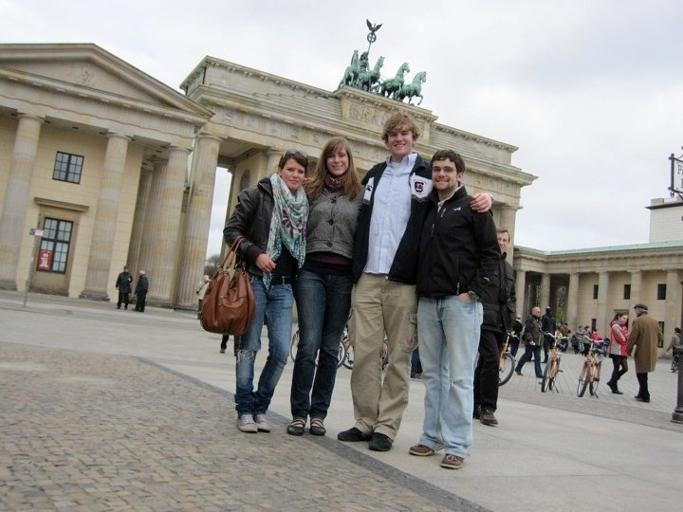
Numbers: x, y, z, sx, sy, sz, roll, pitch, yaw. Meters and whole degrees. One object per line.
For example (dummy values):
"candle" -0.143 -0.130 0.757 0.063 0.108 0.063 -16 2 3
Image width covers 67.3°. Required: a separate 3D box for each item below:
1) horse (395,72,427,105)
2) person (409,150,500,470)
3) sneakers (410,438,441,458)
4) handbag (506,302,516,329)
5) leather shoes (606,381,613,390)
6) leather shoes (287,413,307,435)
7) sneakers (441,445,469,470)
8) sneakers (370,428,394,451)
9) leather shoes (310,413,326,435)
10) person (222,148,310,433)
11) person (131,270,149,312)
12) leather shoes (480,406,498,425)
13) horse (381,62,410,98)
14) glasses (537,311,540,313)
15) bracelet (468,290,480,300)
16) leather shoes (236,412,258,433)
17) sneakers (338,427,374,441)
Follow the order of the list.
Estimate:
"horse" 6.110 -14.970 46.724 4.135 2.786 1.038 -4 2 44
"person" 1.020 0.400 4.671 0.510 2.842 0.682 9 -6 -31
"sneakers" 0.747 1.759 4.682 0.299 0.131 0.117 11 -13 -18
"handbag" 2.399 0.850 7.394 0.199 0.385 0.286 1 -14 10
"leather shoes" 6.970 3.405 13.418 0.065 0.246 0.178 -19 -25 40
"leather shoes" -0.425 1.577 4.764 0.158 0.137 0.245 6 -5 -4
"sneakers" 0.946 1.711 4.361 0.173 0.134 0.334 3 -5 28
"sneakers" 0.361 1.676 4.641 0.276 0.154 0.221 7 -5 -15
"leather shoes" -0.234 1.616 4.879 0.151 0.142 0.241 6 -5 -3
"person" -0.752 0.241 4.903 0.746 2.708 0.533 7 -5 -10
"person" -9.518 1.704 24.334 0.464 1.879 1.186 8 -6 -23
"leather shoes" 1.879 2.083 6.590 0.106 0.114 0.293 3 -12 -9
"horse" 4.690 -15.691 46.482 1.103 3.195 4.068 1 5 -32
"glasses" 6.026 1.727 15.786 0.067 0.052 0.090 1 -10 -7
"bracelet" 1.153 0.347 4.507 0.067 0.082 0.089 8 1 -17
"leather shoes" -0.848 1.496 4.620 0.186 0.143 0.261 7 -5 -10
"sneakers" 0.105 1.671 4.846 0.357 0.150 0.130 9 -9 -16
